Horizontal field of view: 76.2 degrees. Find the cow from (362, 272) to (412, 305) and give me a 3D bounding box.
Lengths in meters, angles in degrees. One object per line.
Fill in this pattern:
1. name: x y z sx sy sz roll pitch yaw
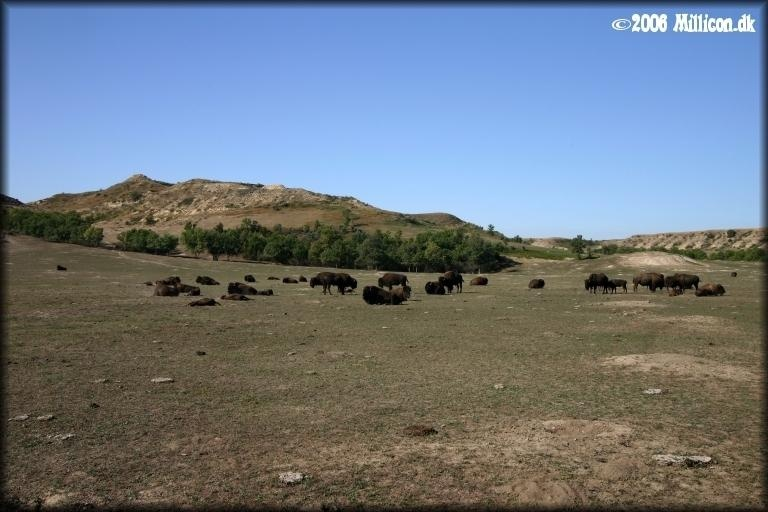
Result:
1. cow: 0.511 2.896 38.674 1.910 1.560 4.600 -4 -5 29
